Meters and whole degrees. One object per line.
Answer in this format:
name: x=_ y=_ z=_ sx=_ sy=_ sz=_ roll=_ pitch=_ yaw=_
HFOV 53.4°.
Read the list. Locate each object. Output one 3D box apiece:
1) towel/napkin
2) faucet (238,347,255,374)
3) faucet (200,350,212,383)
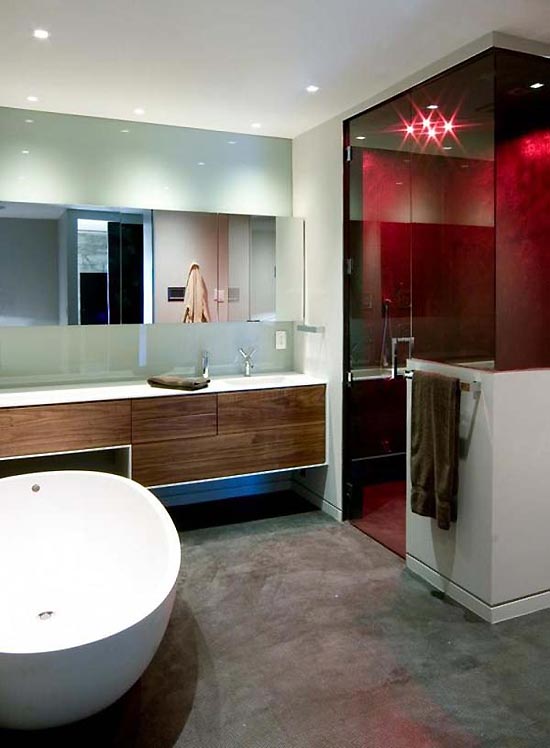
towel/napkin: x=0.682 y=0.314 z=2.384 sx=0.085 sy=0.641 sz=0.351 roll=-1 pitch=2 yaw=-15
faucet: x=-0.206 y=-0.100 z=3.778 sx=0.126 sy=0.225 sz=0.091 roll=2 pitch=-8 yaw=-27
faucet: x=-0.457 y=-0.054 z=3.606 sx=0.063 sy=0.181 sz=0.195 roll=-1 pitch=3 yaw=-8
